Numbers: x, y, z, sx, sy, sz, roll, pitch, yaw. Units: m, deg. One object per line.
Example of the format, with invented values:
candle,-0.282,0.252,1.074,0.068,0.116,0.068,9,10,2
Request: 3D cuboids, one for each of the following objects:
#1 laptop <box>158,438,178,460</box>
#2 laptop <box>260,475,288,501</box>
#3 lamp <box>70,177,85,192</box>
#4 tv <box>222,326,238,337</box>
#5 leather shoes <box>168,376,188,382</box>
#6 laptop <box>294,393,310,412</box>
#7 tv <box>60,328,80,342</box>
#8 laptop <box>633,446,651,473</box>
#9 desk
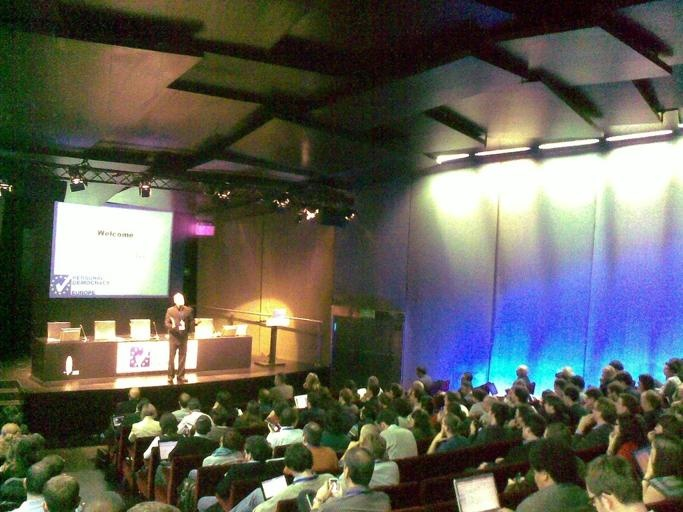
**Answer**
laptop,-2.046,2.289,6.784,0.263,0.249,0.064,3,-5,-14
laptop,-0.623,2.134,5.308,0.211,0.145,0.161,-2,6,-32
lamp,-5.174,-1.403,11.228,0.229,0.235,0.161,2,-7,-24
tv,-2.542,1.693,12.853,0.226,0.169,0.224,4,-8,-39
leather shoes,-3.189,2.431,11.167,0.361,0.155,0.136,0,-2,-1
laptop,-0.602,2.155,8.449,0.075,0.307,0.328,-3,-8,41
tv,-5.158,1.496,10.864,0.203,0.266,0.373,-10,-11,39
laptop,2.845,1.921,5.401,0.058,0.165,0.164,16,-18,-28
desk,-3.920,2.014,11.827,4.228,0.847,0.704,3,4,-25
